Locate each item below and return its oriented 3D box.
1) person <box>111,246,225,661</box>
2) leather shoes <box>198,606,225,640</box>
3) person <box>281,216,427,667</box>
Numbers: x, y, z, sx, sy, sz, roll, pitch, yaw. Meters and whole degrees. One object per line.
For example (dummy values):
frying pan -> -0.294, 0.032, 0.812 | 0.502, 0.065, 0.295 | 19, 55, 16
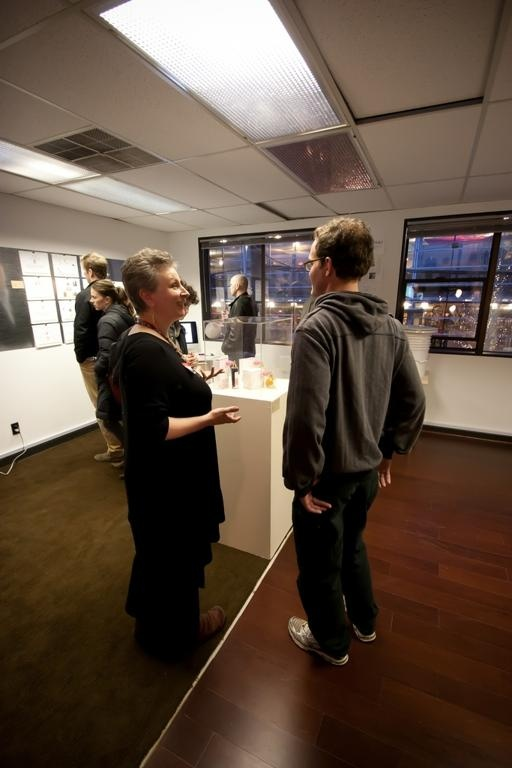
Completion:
person -> -0.288, 0.330, 1.702 | 0.424, 1.563, 0.326 | -6, 16, -19
leather shoes -> -0.182, 0.983, 1.954 | 0.052, 0.056, 0.143 | 3, 8, 20
person -> 0.312, 0.262, 1.723 | 0.579, 1.646, 0.268 | -11, 18, -33
